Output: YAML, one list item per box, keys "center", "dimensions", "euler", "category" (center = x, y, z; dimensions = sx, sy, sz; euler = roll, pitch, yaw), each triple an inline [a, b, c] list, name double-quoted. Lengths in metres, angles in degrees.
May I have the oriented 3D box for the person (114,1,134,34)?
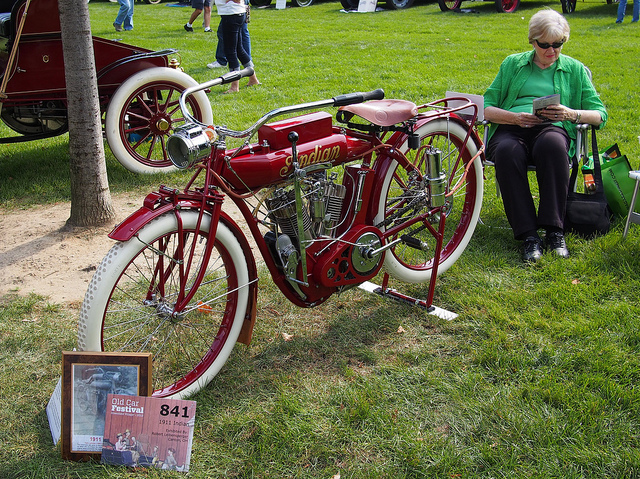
- center: [-4.698, -5.288, 13.540]
  dimensions: [0.474, 0.692, 0.842]
  euler: [-9, 20, -17]
  category: "person"

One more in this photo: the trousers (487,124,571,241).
- center: [1.748, -0.458, 4.839]
  dimensions: [0.624, 0.953, 0.272]
  euler: [0, 3, 12]
  category: "trousers"

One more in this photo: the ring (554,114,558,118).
- center: [1.870, -0.982, 4.518]
  dimensions: [0.014, 0.018, 0.016]
  euler: [-8, 53, 11]
  category: "ring"

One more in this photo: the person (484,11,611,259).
- center: [1.784, -0.894, 4.674]
  dimensions: [0.930, 1.837, 1.027]
  euler: [8, 21, 29]
  category: "person"

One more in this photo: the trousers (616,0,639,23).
- center: [7.604, -5.629, 14.038]
  dimensions: [0.471, 0.512, 0.753]
  euler: [11, 23, 34]
  category: "trousers"

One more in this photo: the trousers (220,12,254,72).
- center: [-1.306, -3.001, 8.640]
  dimensions: [0.365, 0.817, 0.766]
  euler: [2, 19, 13]
  category: "trousers"
